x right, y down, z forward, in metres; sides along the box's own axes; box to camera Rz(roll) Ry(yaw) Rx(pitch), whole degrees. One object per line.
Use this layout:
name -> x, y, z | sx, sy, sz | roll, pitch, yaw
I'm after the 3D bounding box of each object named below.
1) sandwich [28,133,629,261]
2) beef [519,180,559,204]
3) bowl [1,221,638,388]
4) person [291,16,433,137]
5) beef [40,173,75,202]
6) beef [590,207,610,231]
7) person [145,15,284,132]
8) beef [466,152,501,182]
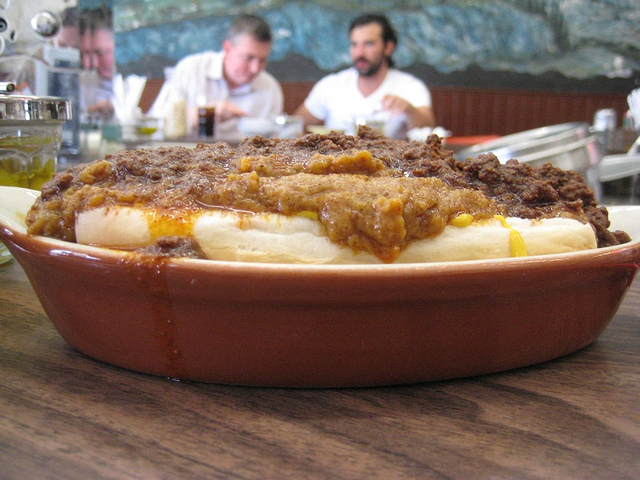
sandwich -> 0.003, -0.034, 0.541 | 0.349, 0.063, 0.214 | 0, 5, -4
beef -> 0.212, -0.046, 0.579 | 0.040, 0.021, 0.016 | -8, 18, -21
bowl -> -0.001, 0.056, 0.520 | 0.579, 0.128, 0.097 | -1, 17, 1
person -> 0.345, -1.037, 3.776 | 0.657, 0.683, 1.032 | -9, 18, -24
beef -> -0.246, -0.048, 0.580 | 0.035, 0.020, 0.011 | -29, -23, 9
beef -> 0.279, -0.021, 0.607 | 0.020, 0.008, 0.025 | 3, 50, -11
person -> -0.575, -1.010, 3.627 | 0.874, 0.649, 0.945 | -5, 17, -14
beef -> 0.162, -0.072, 0.586 | 0.034, 0.014, 0.031 | 1, 49, -4
